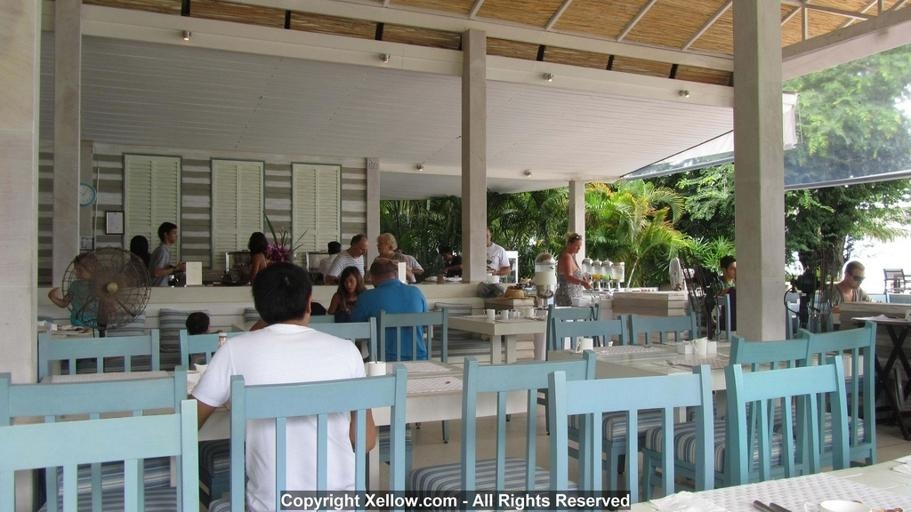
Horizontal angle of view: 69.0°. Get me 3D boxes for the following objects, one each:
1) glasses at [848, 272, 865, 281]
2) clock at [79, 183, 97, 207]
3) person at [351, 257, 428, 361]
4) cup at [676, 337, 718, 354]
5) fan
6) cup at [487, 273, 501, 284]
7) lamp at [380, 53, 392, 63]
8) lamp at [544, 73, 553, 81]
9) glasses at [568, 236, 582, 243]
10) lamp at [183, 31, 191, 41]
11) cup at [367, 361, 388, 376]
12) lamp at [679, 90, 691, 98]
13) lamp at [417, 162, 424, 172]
[{"bbox_3d":[4.717,0.244,7.752,0.114,0.101,0.034,3,30,-9],"label":"glasses"},{"bbox_3d":[-5.729,-0.970,10.328,0.232,0.416,0.810,-3,-2,-29],"label":"clock"},{"bbox_3d":[-0.730,0.542,6.384,0.711,1.080,0.876,4,-16,-33],"label":"person"},{"bbox_3d":[1.910,0.702,5.144,0.236,0.074,0.160,1,-1,-41],"label":"cup"},{"bbox_3d":[-2.564,0.326,5.006,0.493,0.723,0.668,-1,-4,38],"label":"fan"},{"bbox_3d":[0.595,0.333,10.242,0.208,0.160,0.317,-5,-13,8],"label":"cup"},{"bbox_3d":[-0.902,-2.527,8.485,0.129,0.052,0.120,3,-3,-13],"label":"lamp"},{"bbox_3d":[1.290,-2.479,9.199,0.105,0.068,0.101,2,1,-6],"label":"lamp"},{"bbox_3d":[1.582,-0.247,8.701,0.122,0.110,0.088,10,39,18],"label":"glasses"},{"bbox_3d":[-3.163,-2.589,7.802,0.099,0.105,0.067,-3,-2,-19],"label":"lamp"},{"bbox_3d":[-0.500,0.722,4.307,0.157,0.095,0.143,0,1,0],"label":"cup"},{"bbox_3d":[3.483,-2.455,10.049,0.130,0.107,0.086,1,-5,-6],"label":"lamp"},{"bbox_3d":[-0.688,-1.763,13.015,0.191,0.161,0.094,0,0,-29],"label":"lamp"}]
